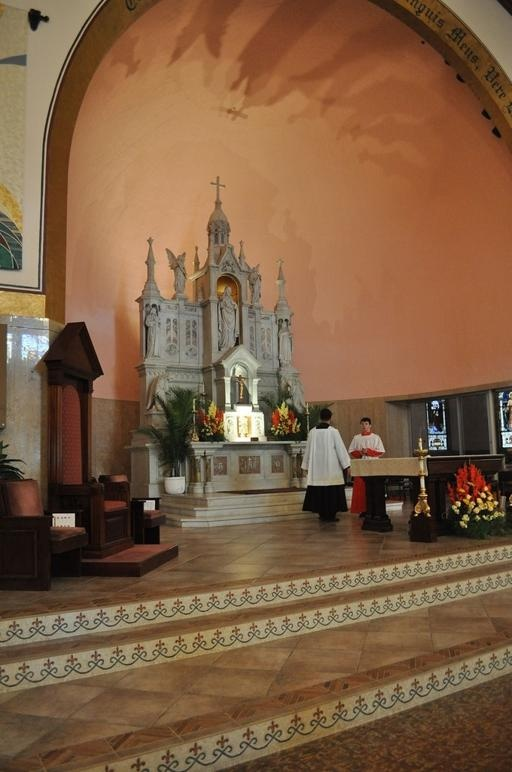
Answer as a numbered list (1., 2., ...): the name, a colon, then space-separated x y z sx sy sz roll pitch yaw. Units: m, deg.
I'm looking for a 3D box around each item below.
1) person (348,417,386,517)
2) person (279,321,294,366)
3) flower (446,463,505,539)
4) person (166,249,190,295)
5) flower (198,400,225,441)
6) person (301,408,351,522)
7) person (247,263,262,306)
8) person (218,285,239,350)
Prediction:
1. person: 1.670 1.218 8.507 0.519 1.488 1.471 -2 -5 11
2. person: 0.692 -0.980 12.918 0.359 1.091 0.209 2 -6 -26
3. flower: 2.375 1.228 6.186 0.607 0.448 0.765 0 1 0
4. person: -1.724 -2.451 12.122 0.397 1.098 0.787 0 -5 -7
5. flower: -0.821 0.638 9.981 0.551 0.702 0.602 1 -6 -23
6. person: 0.966 1.178 7.827 0.639 1.376 0.310 -2 -6 8
7. person: -0.053 -2.305 13.002 0.265 1.011 0.618 -1 -5 -1
8. person: -0.577 -1.439 12.174 0.210 1.399 0.582 -5 -7 37
